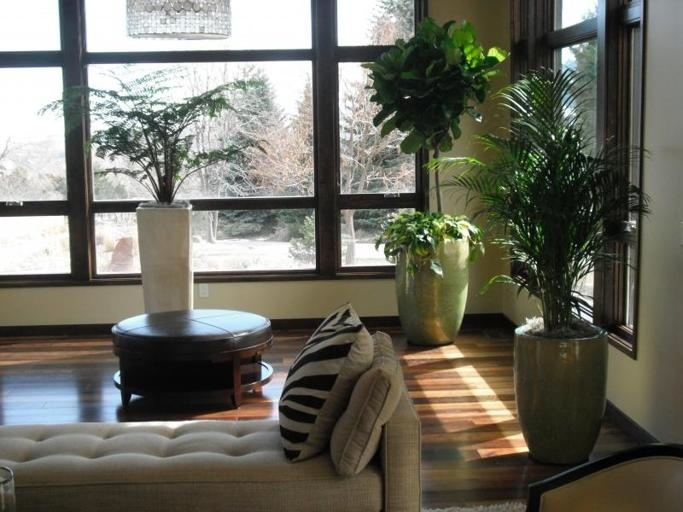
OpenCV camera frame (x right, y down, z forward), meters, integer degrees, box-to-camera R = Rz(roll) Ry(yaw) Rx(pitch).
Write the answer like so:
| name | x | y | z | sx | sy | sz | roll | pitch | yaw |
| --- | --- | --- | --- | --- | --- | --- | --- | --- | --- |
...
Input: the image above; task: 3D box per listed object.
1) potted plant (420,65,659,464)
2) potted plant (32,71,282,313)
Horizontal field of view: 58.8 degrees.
| name | x | y | z | sx | sy | sz | roll | pitch | yaw |
| --- | --- | --- | --- | --- | --- | --- | --- | --- | --- |
| potted plant | 1.147 | 0.129 | 3.587 | 1.099 | 2.050 | 1.081 | -4 | -1 | 20 |
| potted plant | -1.627 | -0.482 | 5.373 | 1.500 | 1.756 | 1.252 | -1 | 7 | 37 |
